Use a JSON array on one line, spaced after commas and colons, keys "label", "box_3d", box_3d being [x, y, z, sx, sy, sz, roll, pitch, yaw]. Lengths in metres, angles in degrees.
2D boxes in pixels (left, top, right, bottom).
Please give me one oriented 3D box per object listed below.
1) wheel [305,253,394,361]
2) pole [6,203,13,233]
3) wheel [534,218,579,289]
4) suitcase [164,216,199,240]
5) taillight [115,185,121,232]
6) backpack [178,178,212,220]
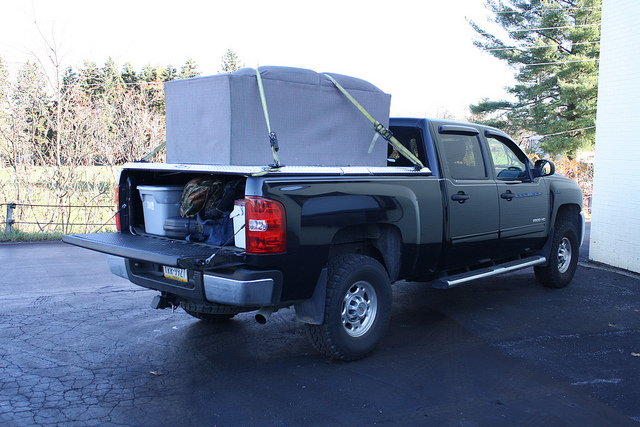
[{"label": "wheel", "box_3d": [0.318, 1.121, 5.224, 0.498, 1.411, 1.370, 0, 2, 44]}, {"label": "pole", "box_3d": [-9.677, 0.089, 13.560, 0.187, 0.849, 0.375, -6, 12, -35]}, {"label": "wheel", "box_3d": [4.514, 0.764, 8.307, 0.958, 1.272, 0.422, -7, 12, -38]}, {"label": "suitcase", "box_3d": [-1.669, 0.158, 5.267, 0.323, 0.231, 0.325, 3, 1, 25]}, {"label": "taillight", "box_3d": [-2.651, -0.067, 5.733, 0.062, 0.605, 0.157, -4, 11, -25]}, {"label": "backpack", "box_3d": [-1.517, -0.165, 5.188, 0.296, 0.472, 0.391, -1, -4, 42]}]
